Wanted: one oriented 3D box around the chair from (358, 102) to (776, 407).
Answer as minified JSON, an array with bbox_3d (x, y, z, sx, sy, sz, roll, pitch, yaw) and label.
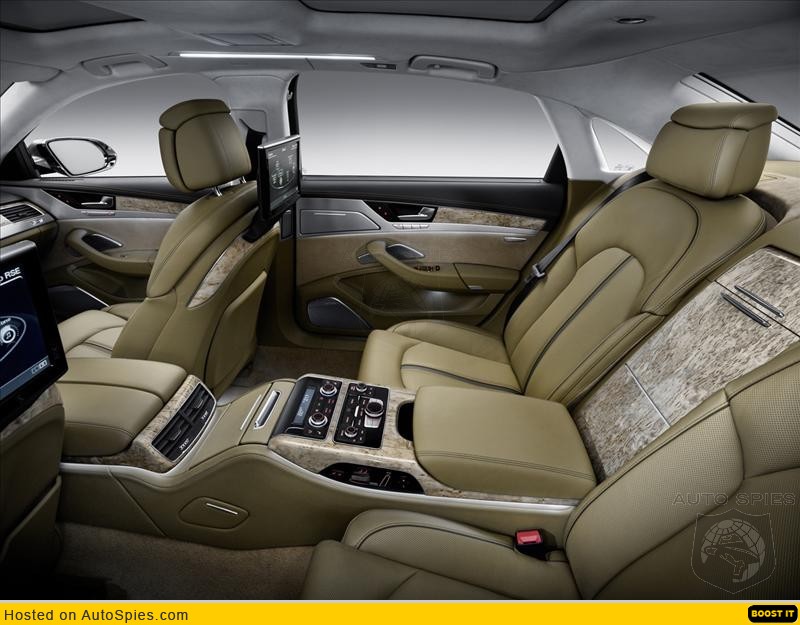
[{"bbox_3d":[0.428,-0.140,1.638,1.060,1.056,0.772,9,24,8],"label":"chair"}]
